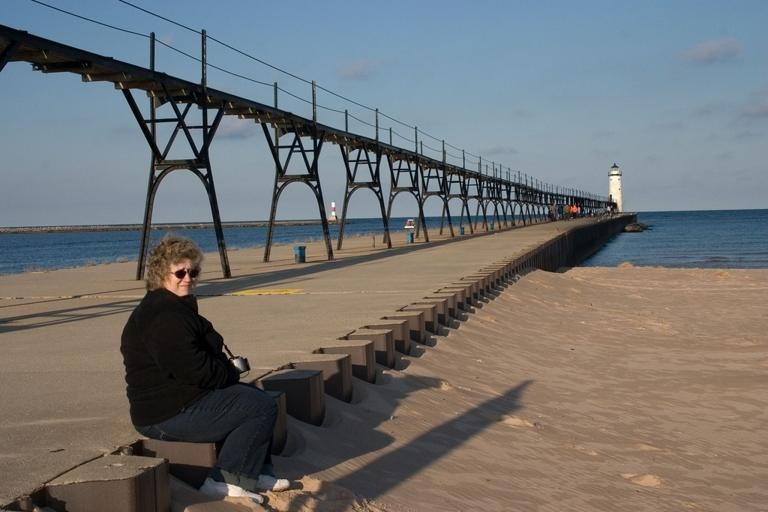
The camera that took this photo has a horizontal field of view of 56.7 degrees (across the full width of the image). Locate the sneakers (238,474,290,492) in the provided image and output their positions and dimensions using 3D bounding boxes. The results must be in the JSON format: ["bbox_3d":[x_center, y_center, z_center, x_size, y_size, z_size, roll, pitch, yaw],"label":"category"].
[{"bbox_3d":[-1.101,2.112,6.560,0.460,0.194,0.160,0,0,-3],"label":"sneakers"}]

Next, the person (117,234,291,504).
[{"bbox_3d":[-1.676,1.012,6.537,1.409,2.134,0.557,11,12,13],"label":"person"}]
